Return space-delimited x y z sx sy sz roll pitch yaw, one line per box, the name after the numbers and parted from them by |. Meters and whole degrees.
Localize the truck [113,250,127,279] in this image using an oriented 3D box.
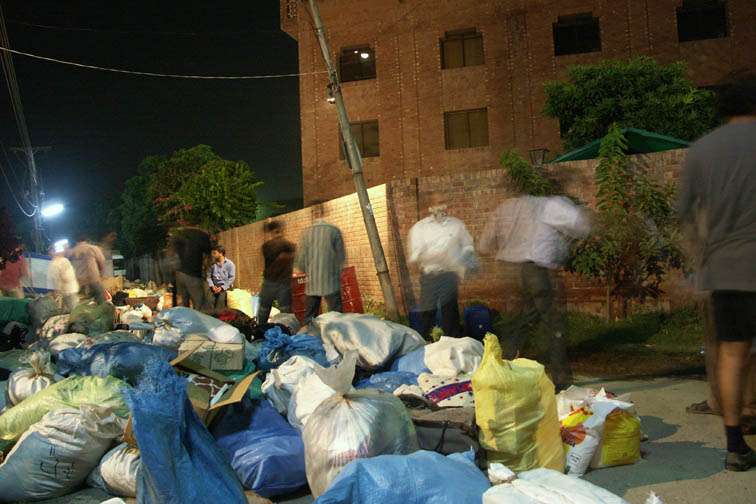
-15.154 0.583 39.057 0.675 1.649 14.086 -6 0 -21 | truck

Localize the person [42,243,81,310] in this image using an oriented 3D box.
-4.722 0.406 9.958 0.334 0.957 0.497 -15 0 39 | person

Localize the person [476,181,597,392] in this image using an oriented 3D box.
1.815 0.432 7.616 1.078 1.897 0.674 -5 1 43 | person

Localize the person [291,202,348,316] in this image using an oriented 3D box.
-0.790 0.216 9.330 0.698 1.534 0.436 -5 1 -7 | person

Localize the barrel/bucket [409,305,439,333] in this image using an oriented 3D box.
0.592 0.899 8.991 0.327 0.351 0.350 0 -3 0 | barrel/bucket

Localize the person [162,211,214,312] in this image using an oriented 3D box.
-2.894 0.244 10.318 0.649 1.370 0.447 -5 1 -11 | person

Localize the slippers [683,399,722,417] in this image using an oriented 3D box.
3.196 1.538 6.575 0.232 0.122 0.335 -4 -13 4 | slippers
